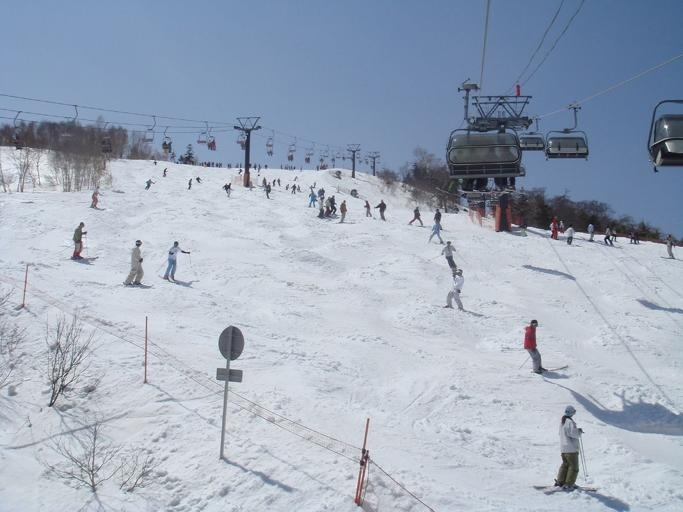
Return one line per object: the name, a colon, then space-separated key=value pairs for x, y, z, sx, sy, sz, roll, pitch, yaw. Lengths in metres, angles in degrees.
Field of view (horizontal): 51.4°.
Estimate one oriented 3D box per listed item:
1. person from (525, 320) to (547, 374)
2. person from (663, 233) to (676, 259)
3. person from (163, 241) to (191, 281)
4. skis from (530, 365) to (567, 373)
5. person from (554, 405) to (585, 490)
person: x=7.097 y=3.273 z=26.060 sx=0.853 sy=2.004 sz=0.618 roll=-2 pitch=9 yaw=-43
person: x=20.291 y=-0.664 z=43.579 sx=0.541 sy=1.355 sz=3.710 roll=8 pitch=8 yaw=25
person: x=-7.901 y=0.270 z=34.002 sx=0.565 sy=0.744 sz=1.575 roll=13 pitch=-38 yaw=-21
skis: x=7.671 y=4.180 z=26.372 sx=1.287 sy=0.156 sz=0.183 roll=-5 pitch=-35 yaw=4
person: x=6.837 y=5.653 z=21.222 sx=0.699 sy=2.279 sz=1.082 roll=7 pitch=7 yaw=19
